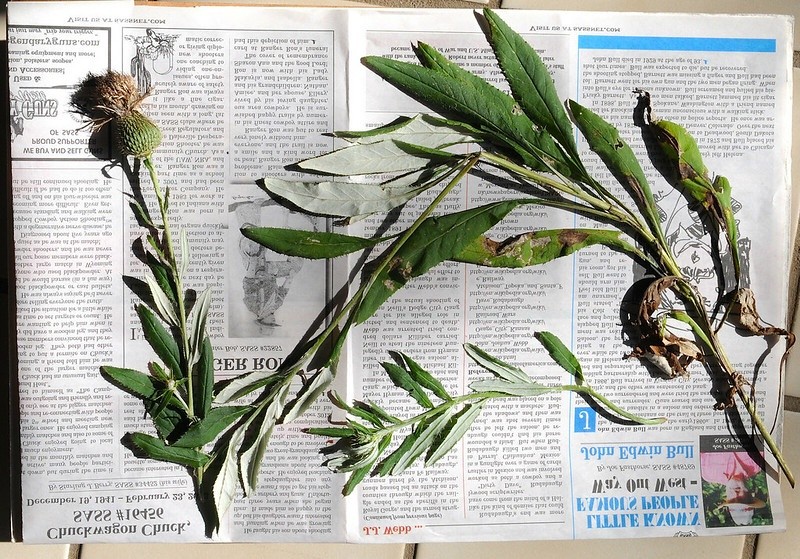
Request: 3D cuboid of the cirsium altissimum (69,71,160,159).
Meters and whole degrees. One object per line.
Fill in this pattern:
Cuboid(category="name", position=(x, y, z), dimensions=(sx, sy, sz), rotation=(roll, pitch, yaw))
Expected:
Cuboid(category="cirsium altissimum", position=(-0.443, -0.258, 1.509), dimensions=(0.145, 0.139, 0.043), rotation=(1, 2, 16))
